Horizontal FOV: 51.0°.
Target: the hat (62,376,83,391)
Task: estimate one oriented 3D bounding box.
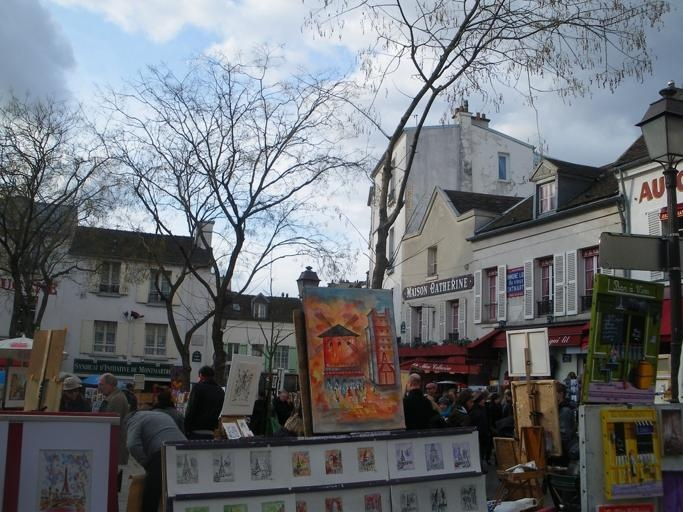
[{"bbox_3d":[-4.355,2.057,11.602,0.253,0.156,0.283,-1,-1,6],"label":"hat"}]

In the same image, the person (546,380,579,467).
[{"bbox_3d":[3.619,2.712,11.701,0.489,1.393,1.480,-5,-16,18],"label":"person"}]

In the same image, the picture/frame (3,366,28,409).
[{"bbox_3d":[-5.871,2.339,12.809,0.337,0.832,1.051,7,-17,-25],"label":"picture/frame"}]
